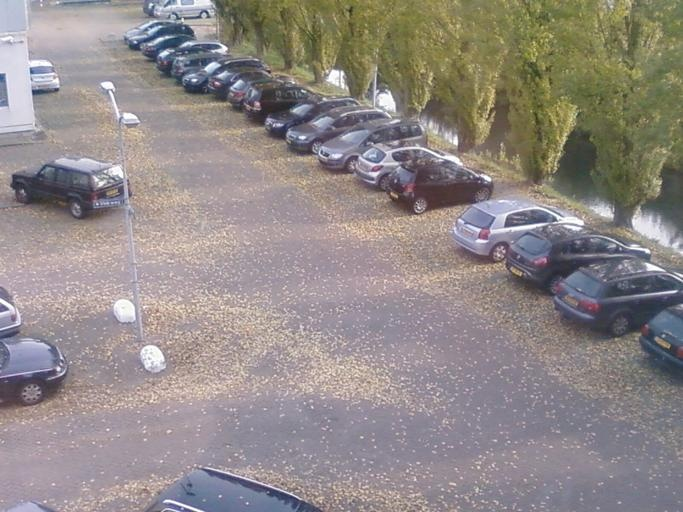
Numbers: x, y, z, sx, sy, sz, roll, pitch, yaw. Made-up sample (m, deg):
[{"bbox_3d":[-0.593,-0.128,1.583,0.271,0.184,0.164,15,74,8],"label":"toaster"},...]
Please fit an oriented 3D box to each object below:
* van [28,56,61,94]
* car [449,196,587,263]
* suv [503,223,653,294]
[{"bbox_3d":[-15.080,-9.126,46.828,1.239,0.972,2.792,-6,31,-17],"label":"van"},{"bbox_3d":[5.934,-1.126,31.037,3.920,1.365,2.024,-15,29,-19],"label":"car"},{"bbox_3d":[7.846,-0.156,30.376,5.197,1.733,2.198,-7,24,-30],"label":"suv"}]
